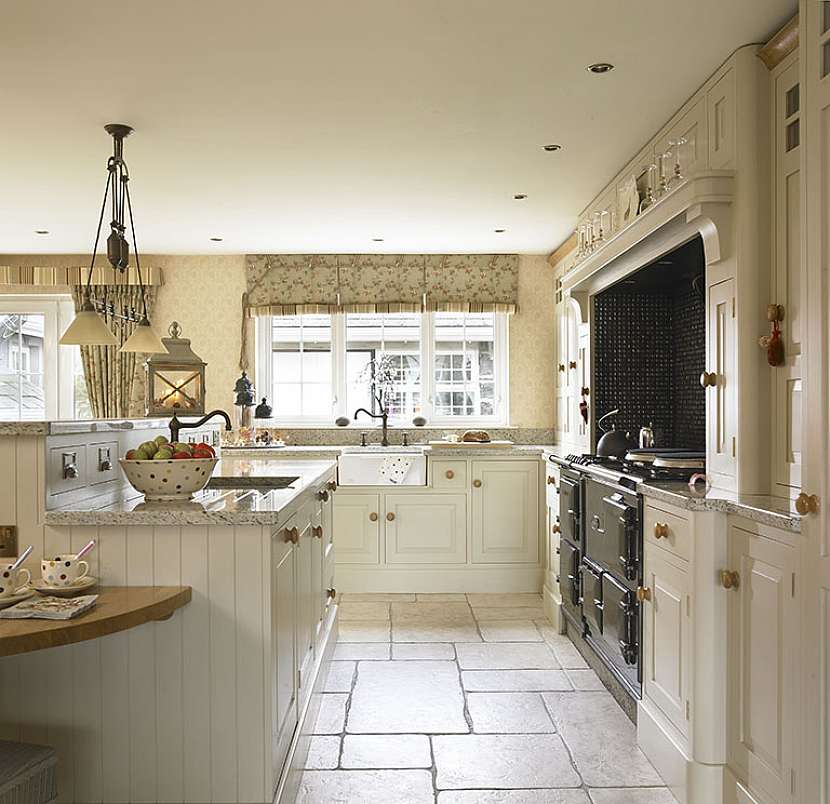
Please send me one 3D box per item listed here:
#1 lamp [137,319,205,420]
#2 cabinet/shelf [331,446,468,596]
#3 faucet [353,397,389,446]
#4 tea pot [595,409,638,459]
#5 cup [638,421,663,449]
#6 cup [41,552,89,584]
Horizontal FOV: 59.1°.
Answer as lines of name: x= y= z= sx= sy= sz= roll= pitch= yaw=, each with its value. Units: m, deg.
lamp: x=-1.283 y=-0.147 z=3.898 sx=0.296 sy=0.539 sz=0.327 roll=1 pitch=-10 yaw=-24
cabinet/shelf: x=-0.138 y=0.762 z=5.160 sx=0.919 sy=1.016 sz=0.506 roll=0 pitch=18 yaw=-1
faucet: x=-0.337 y=0.142 z=5.615 sx=0.284 sy=0.390 sz=0.422 roll=0 pitch=0 yaw=-5
tea pot: x=1.007 y=0.174 z=3.764 sx=0.266 sy=0.261 sz=0.206 roll=0 pitch=-3 yaw=32
cup: x=1.074 y=0.156 z=3.396 sx=0.096 sy=0.149 sz=0.137 roll=1 pitch=2 yaw=31
cup: x=-0.922 y=0.431 z=1.926 sx=0.094 sy=0.074 sz=0.080 roll=2 pitch=-6 yaw=-12
